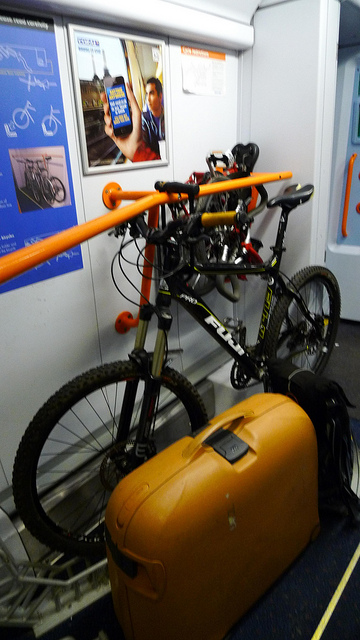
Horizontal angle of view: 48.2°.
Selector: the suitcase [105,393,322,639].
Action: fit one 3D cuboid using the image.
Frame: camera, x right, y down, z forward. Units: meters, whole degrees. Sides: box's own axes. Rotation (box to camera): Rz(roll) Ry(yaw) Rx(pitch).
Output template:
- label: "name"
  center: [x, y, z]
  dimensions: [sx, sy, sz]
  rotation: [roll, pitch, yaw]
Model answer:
- label: "suitcase"
  center: [0.105, 0.509, 1.008]
  dimensions: [0.150, 0.400, 0.440]
  rotation: [14, 25, 38]
